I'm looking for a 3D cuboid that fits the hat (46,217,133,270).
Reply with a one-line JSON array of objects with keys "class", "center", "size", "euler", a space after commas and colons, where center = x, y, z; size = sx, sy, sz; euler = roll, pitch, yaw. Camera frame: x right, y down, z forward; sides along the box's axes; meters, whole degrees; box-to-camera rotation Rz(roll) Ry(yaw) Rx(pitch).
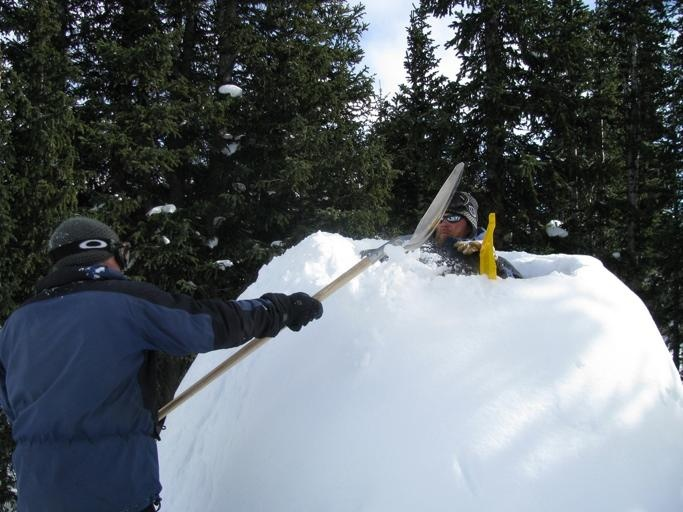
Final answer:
[{"class": "hat", "center": [-2.483, -0.128, 7.693], "size": [0.648, 0.580, 0.486], "euler": [-26, 11, -41]}]
